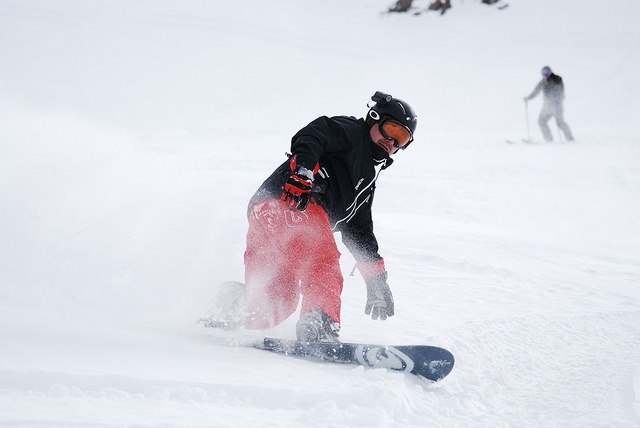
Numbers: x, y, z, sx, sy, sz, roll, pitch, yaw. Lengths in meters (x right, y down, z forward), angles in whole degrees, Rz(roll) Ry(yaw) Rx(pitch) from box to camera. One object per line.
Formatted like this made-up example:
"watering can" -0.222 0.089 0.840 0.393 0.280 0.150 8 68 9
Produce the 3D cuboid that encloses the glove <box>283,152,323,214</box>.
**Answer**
"glove" -0.233 -0.322 6.956 0.444 0.573 0.176 12 3 0

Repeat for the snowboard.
"snowboard" 0.312 1.596 6.820 2.072 0.285 0.222 8 4 10

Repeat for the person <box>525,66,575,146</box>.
"person" 5.674 -2.738 15.704 0.823 1.563 1.744 -2 -5 22
